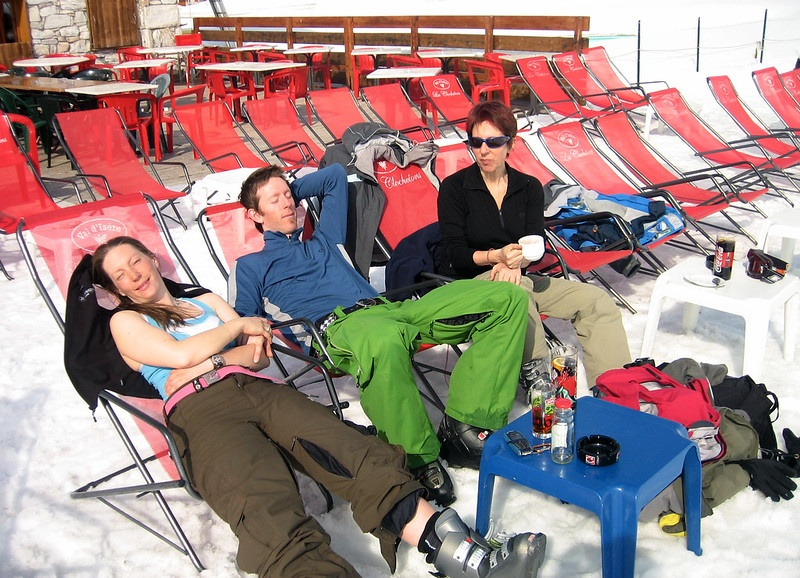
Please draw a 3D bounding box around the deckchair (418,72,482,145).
[{"bbox_3d":[0.929,-2.474,7.804,0.763,0.547,1.450,16,7,42],"label":"deckchair"}]

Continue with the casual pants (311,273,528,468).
[{"bbox_3d":[0.092,0.427,2.887,1.083,0.733,0.830,-9,5,-32],"label":"casual pants"}]

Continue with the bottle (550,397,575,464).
[{"bbox_3d":[0.671,0.565,2.277,0.073,0.252,0.147,5,14,43],"label":"bottle"}]

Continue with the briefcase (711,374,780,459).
[{"bbox_3d":[1.765,0.695,2.977,0.374,0.132,0.356,-13,54,-20],"label":"briefcase"}]

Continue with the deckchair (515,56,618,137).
[{"bbox_3d":[2.484,-2.862,8.217,1.559,0.930,0.825,-4,17,-21],"label":"deckchair"}]

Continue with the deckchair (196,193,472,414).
[{"bbox_3d":[-0.361,-0.046,3.545,1.032,1.155,1.817,-23,46,-37],"label":"deckchair"}]

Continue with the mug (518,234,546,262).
[{"bbox_3d":[0.736,-0.230,3.127,0.124,0.107,0.151,-3,6,0],"label":"mug"}]

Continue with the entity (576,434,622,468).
[{"bbox_3d":[0.789,0.661,2.256,0.127,0.041,0.121,-16,29,-9],"label":"entity"}]

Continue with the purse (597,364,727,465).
[{"bbox_3d":[1.219,0.506,2.623,0.421,0.184,0.473,-17,40,-26],"label":"purse"}]

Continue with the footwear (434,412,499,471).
[{"bbox_3d":[0.303,0.770,2.920,0.252,0.266,0.304,12,5,-38],"label":"footwear"}]

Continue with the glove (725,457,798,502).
[{"bbox_3d":[1.707,0.894,2.657,0.323,0.181,0.120,-3,10,9],"label":"glove"}]

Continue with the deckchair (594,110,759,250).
[{"bbox_3d":[2.394,-1.016,5.503,1.678,1.137,0.980,29,41,33],"label":"deckchair"}]

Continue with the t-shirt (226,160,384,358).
[{"bbox_3d":[-0.672,-0.103,3.527,0.847,1.084,0.385,-19,-15,-33],"label":"t-shirt"}]

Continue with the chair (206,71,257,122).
[{"bbox_3d":[-2.806,-3.443,9.324,0.872,1.033,0.861,-7,33,-16],"label":"chair"}]

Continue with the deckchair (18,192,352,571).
[{"bbox_3d":[-1.320,0.314,3.504,2.490,1.720,1.302,32,33,25],"label":"deckchair"}]

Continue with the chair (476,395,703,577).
[{"bbox_3d":[0.780,0.697,2.333,0.752,0.525,0.732,-15,20,-42],"label":"chair"}]

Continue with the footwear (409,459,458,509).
[{"bbox_3d":[0.160,0.899,2.703,0.162,0.271,0.096,-31,5,-15],"label":"footwear"}]

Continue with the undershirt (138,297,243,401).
[{"bbox_3d":[-1.006,0.304,2.660,0.459,0.244,0.453,24,35,34],"label":"undershirt"}]

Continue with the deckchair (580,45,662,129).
[{"bbox_3d":[3.065,-3.018,8.405,0.732,0.938,1.360,-18,34,8],"label":"deckchair"}]
